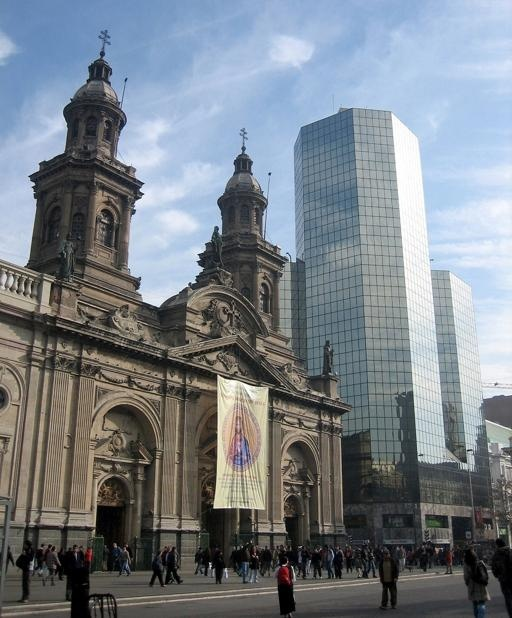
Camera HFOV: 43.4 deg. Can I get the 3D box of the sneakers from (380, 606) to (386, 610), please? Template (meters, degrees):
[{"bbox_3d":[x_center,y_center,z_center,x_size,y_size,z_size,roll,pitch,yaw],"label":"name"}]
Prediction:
[{"bbox_3d":[3.308,7.737,16.739,0.113,0.082,0.230,-5,-18,9],"label":"sneakers"}]

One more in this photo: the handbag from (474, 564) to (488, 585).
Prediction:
[{"bbox_3d":[4.669,5.464,13.292,0.325,0.434,0.161,6,-34,-21],"label":"handbag"}]
